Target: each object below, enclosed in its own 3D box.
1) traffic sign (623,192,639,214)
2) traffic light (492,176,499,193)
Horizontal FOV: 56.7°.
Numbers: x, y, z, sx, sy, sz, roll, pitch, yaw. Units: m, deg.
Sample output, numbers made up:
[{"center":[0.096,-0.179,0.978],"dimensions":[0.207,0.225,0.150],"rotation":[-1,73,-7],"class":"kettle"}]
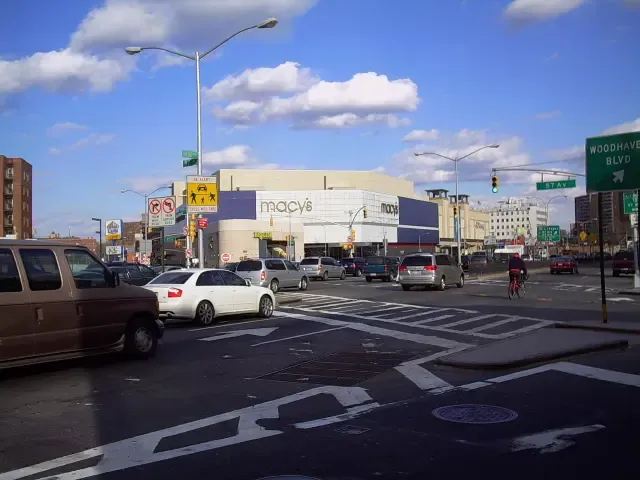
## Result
[{"center":[15.563,-1.933,29.746],"dimensions":[0.549,1.029,1.924],"rotation":[-1,0,26],"class":"traffic sign"},{"center":[11.466,-3.684,38.967],"dimensions":[0.333,1.037,1.352],"rotation":[-1,0,13],"class":"traffic light"}]
